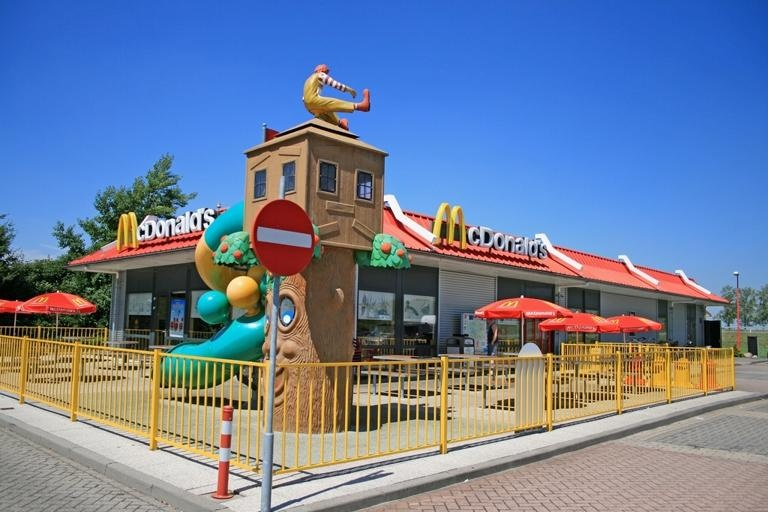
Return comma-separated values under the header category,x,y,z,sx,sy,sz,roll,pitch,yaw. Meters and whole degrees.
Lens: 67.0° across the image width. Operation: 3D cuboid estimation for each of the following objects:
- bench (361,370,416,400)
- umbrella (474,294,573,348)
category,x,y,z,sx,sy,sz,roll,pitch,yaw
bench,0.125,3.611,16.276,0.988,0.628,2.411,0,-1,-28
umbrella,4.647,2.249,20.456,2.678,1.650,4.481,1,-10,-1
